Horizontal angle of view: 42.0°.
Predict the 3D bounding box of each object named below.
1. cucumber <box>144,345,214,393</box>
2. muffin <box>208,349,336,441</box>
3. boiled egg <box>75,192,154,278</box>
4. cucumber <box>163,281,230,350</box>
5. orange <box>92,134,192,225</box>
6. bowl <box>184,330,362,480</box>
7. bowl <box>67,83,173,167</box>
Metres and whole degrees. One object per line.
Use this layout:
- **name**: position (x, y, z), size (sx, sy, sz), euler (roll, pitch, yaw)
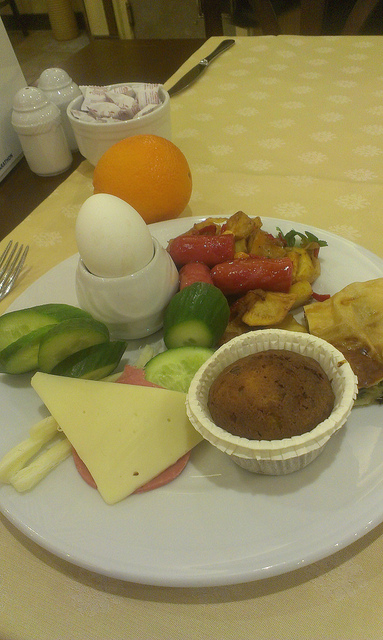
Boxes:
- **cucumber**: position (-0.019, 0.057, 0.714), size (0.096, 0.055, 0.099), euler (-18, 28, -38)
- **muffin**: position (0.086, 0.072, 0.533), size (0.114, 0.036, 0.111), euler (12, 55, 14)
- **boiled egg**: position (-0.111, -0.121, 0.703), size (0.104, 0.101, 0.072), euler (-15, 37, -3)
- **cucumber**: position (0.000, -0.004, 0.709), size (0.087, 0.082, 0.077), euler (19, 47, 35)
- **orange**: position (-0.097, -0.252, 0.966), size (0.173, 0.165, 0.163), euler (-8, 38, -10)
- **bowl**: position (0.089, 0.089, 0.559), size (0.177, 0.095, 0.180), euler (-8, 37, 6)
- **bowl**: position (-0.147, -0.450, 1.134), size (0.218, 0.161, 0.218), euler (-7, 45, 7)
